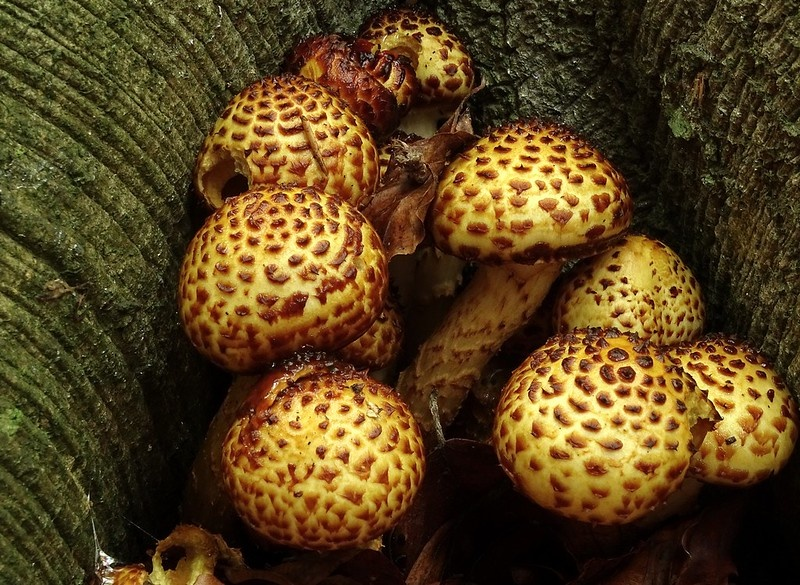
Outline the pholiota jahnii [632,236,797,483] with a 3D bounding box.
[{"bbox_3d":[0.967,0.344,2.649,0.393,0.222,0.402,37,46,-15],"label":"pholiota jahnii"}]
